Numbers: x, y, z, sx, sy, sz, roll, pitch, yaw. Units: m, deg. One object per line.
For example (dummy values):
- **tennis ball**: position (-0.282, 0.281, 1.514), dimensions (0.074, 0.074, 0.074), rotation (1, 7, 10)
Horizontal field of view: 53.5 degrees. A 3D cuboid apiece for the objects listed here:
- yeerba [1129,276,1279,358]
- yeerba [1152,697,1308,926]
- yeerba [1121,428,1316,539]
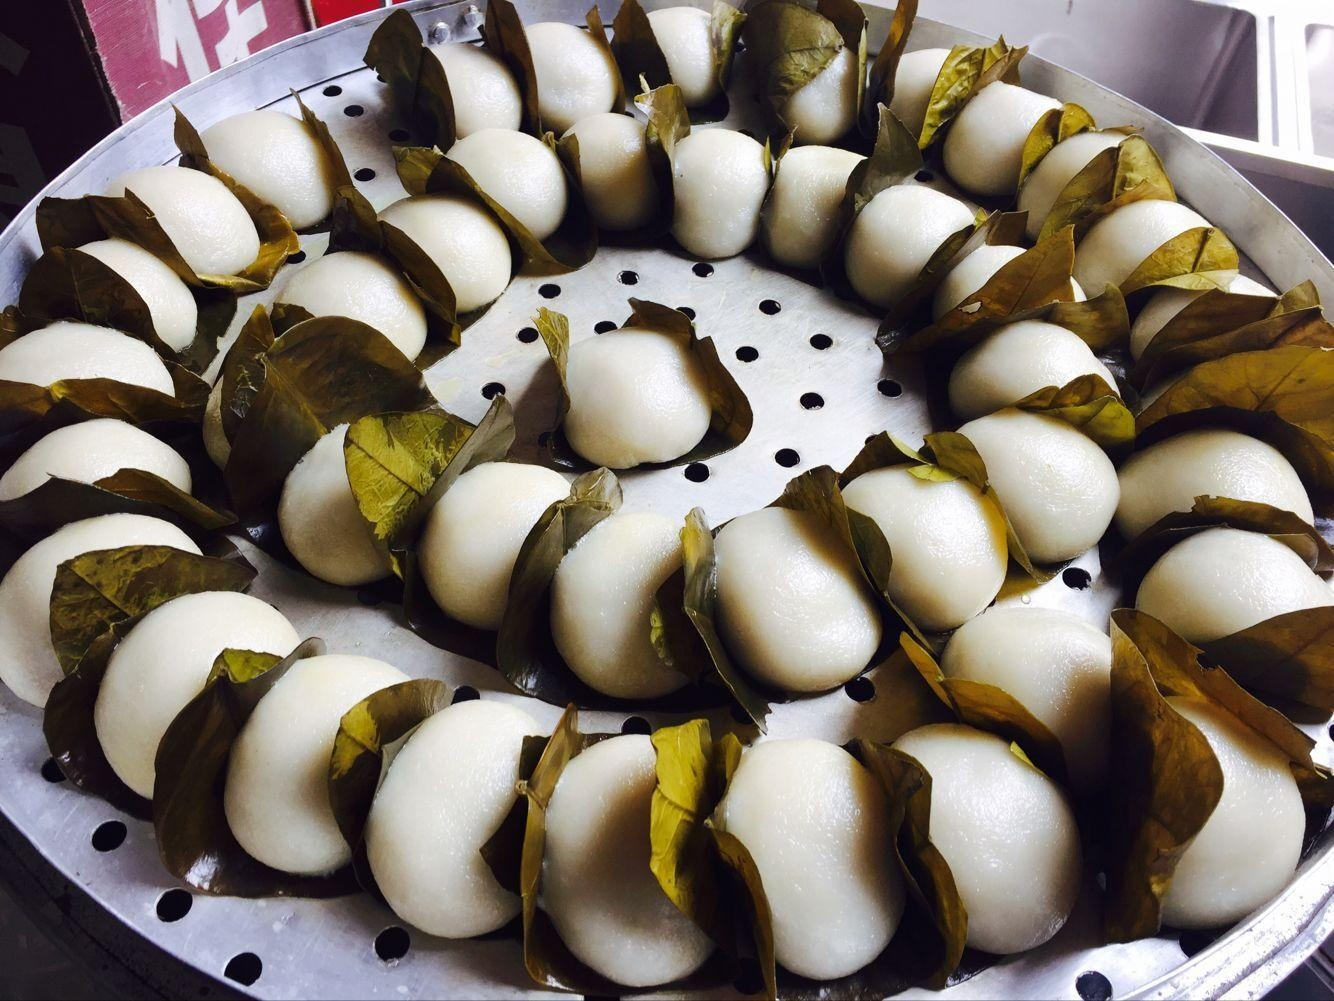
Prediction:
- **yeerba**: position (0.510, -0.178, 1.276), dimensions (0.066, 0.108, 0.097), rotation (48, 70, -20)
- **yeerba**: position (0.422, 0.256, 1.065), dimensions (0.118, 0.081, 0.165), rotation (-12, 82, -12)
- **yeerba**: position (0.475, 0.001, 1.153), dimensions (0.116, 0.076, 0.119), rotation (-5, 69, 8)
